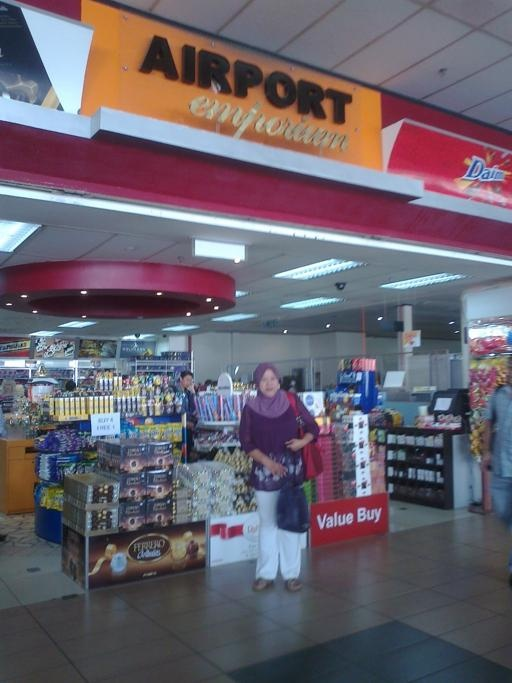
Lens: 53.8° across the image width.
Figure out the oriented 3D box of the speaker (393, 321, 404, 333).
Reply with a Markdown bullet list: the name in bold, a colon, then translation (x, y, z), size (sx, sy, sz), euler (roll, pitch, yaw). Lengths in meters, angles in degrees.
- **speaker**: translation (2.971, -0.298, 10.497), size (0.240, 0.223, 0.121), euler (-2, 4, -37)

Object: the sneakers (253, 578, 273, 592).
- **sneakers**: translation (0.054, 1.681, 3.524), size (0.053, 0.058, 0.146), euler (5, 6, 35)

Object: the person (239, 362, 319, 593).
- **person**: translation (0.125, 0.946, 3.577), size (0.525, 1.544, 0.536), euler (4, -11, -29)

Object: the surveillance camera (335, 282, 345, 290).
- **surveillance camera**: translation (1.442, -0.939, 8.620), size (0.118, 0.120, 0.218), euler (-1, -4, 8)

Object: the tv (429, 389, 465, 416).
- **tv**: translation (2.628, 0.838, 6.786), size (0.371, 0.372, 0.380), euler (6, -9, -27)
